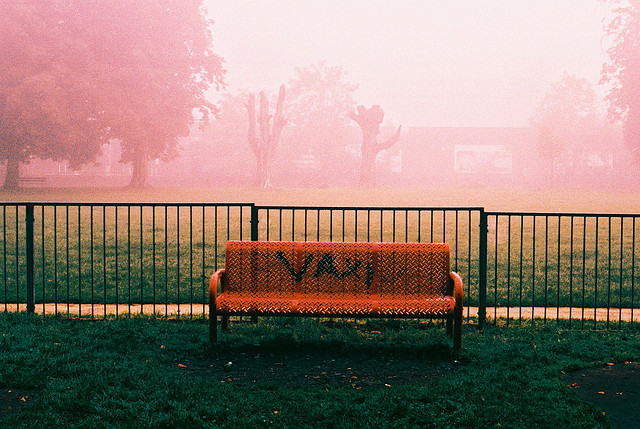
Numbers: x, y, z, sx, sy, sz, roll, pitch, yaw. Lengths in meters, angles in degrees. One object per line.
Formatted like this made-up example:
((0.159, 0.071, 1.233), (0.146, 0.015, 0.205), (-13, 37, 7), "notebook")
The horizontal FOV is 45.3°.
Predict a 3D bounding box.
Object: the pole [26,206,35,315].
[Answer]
((-9.589, 1.528, 25.549), (0.255, 3.580, 0.380), (0, -3, -18), "pole")

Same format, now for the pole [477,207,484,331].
((5.305, 1.813, 25.250), (0.246, 3.972, 0.468), (-1, -3, 6), "pole")

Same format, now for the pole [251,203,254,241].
((-2.186, 0.246, 25.302), (0.090, 1.212, 0.280), (0, -3, -4), "pole")
